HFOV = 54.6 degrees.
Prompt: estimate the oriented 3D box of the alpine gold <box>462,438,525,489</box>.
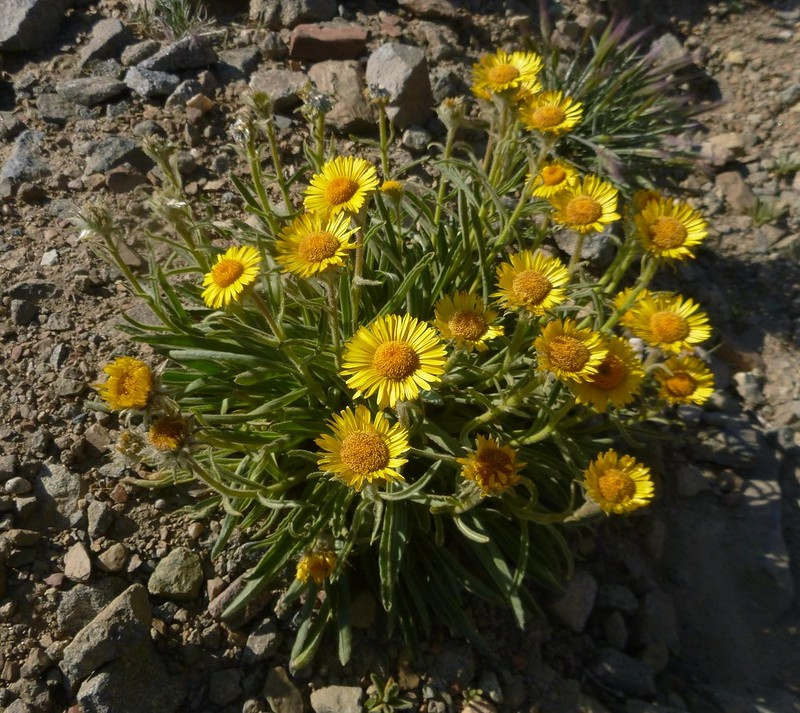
[{"bbox_3d":[0.372,0.445,3.120,0.262,0.085,0.205,4,65,-16],"label":"alpine gold"}]
